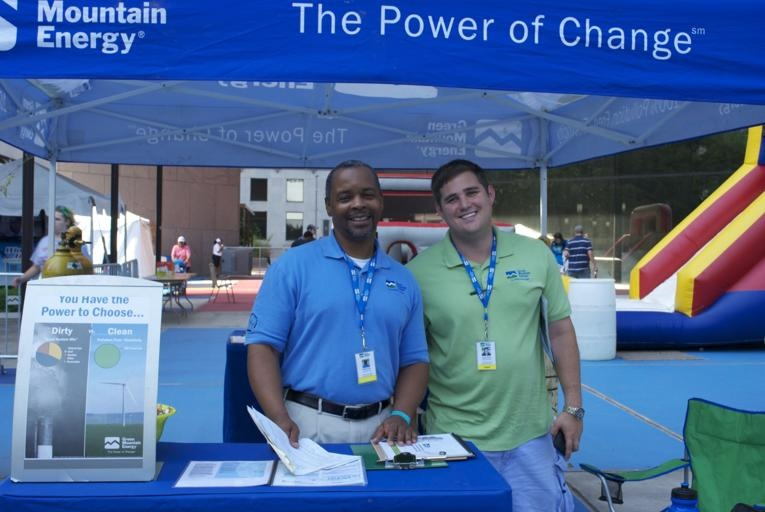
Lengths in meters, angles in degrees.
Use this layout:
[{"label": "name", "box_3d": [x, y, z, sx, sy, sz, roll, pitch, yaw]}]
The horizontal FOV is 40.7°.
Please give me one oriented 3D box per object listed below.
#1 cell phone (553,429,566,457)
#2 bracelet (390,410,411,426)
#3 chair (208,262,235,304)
[{"label": "cell phone", "box_3d": [1.448, 1.525, 8.440, 0.112, 0.240, 0.115, 5, 5, 32]}, {"label": "bracelet", "box_3d": [0.146, 1.294, 8.192, 0.117, 0.048, 0.120, 26, 5, -13]}, {"label": "chair", "box_3d": [-3.382, 0.535, 22.020, 0.697, 1.099, 0.623, 0, 9, -13]}]
